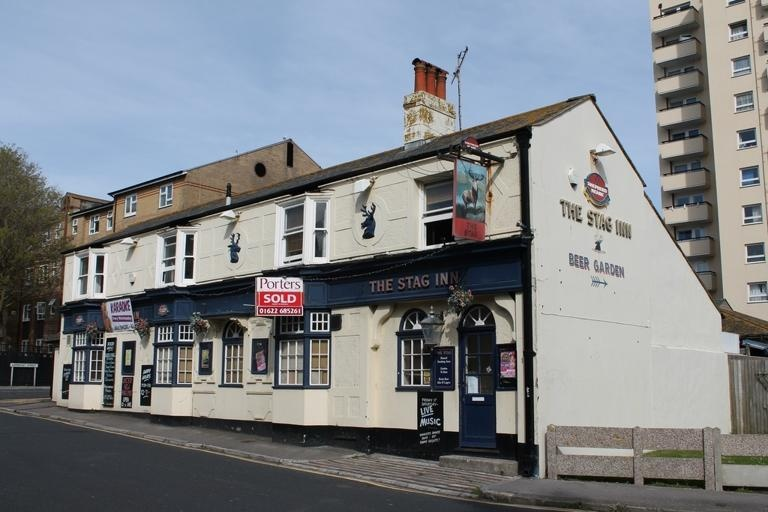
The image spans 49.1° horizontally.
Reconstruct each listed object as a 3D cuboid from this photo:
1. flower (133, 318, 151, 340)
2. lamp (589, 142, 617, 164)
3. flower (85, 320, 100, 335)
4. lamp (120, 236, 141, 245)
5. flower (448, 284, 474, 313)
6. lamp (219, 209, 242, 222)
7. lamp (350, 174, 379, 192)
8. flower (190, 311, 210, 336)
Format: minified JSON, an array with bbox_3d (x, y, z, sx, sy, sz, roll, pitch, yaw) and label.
[{"bbox_3d":[-11.283,3.432,39.193,0.730,1.021,0.325,5,10,29],"label":"flower"},{"bbox_3d":[8.329,-3.902,31.952,0.722,0.990,0.999,5,-1,29],"label":"lamp"},{"bbox_3d":[-14.581,3.672,42.081,0.519,0.646,0.571,-6,-2,-9],"label":"flower"},{"bbox_3d":[-12.355,-0.660,41.011,0.505,0.238,0.492,-5,-10,36],"label":"lamp"},{"bbox_3d":[2.672,1.539,29.452,0.856,0.909,0.646,6,2,11],"label":"flower"},{"bbox_3d":[-6.777,-1.732,36.528,1.018,0.532,0.520,6,7,42],"label":"lamp"},{"bbox_3d":[-0.767,-2.727,32.318,1.033,0.657,0.341,5,7,37],"label":"lamp"},{"bbox_3d":[-8.123,3.086,37.014,1.045,1.041,0.440,5,7,39],"label":"flower"}]
